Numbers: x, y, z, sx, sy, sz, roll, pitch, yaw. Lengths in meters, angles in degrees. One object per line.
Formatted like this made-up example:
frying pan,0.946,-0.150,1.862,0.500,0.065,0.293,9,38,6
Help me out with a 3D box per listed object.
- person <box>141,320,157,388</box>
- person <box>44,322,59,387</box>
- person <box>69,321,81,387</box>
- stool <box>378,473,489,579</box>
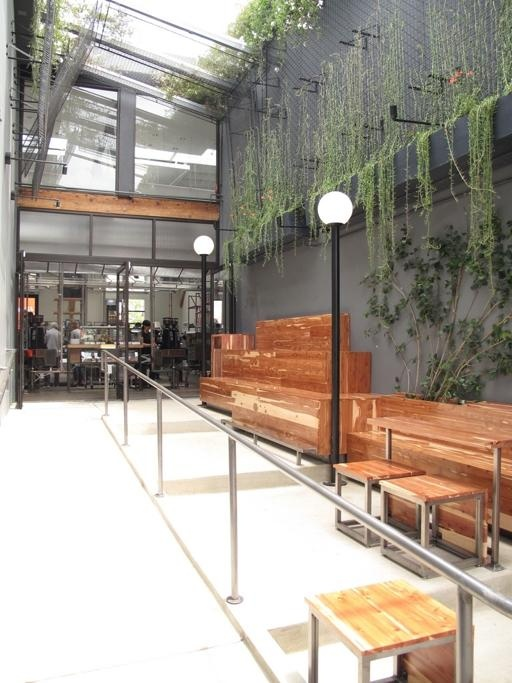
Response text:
person,-1.913,0.137,9.665,0.249,1.051,1.192,0,0,-12
person,-3.492,0.102,9.414,0.426,0.839,0.218,0,-1,40
person,-3.278,0.230,9.855,0.207,1.148,0.687,0,0,-18
stool,0.911,0.873,2.543,0.296,0.342,0.289,-5,-18,14
